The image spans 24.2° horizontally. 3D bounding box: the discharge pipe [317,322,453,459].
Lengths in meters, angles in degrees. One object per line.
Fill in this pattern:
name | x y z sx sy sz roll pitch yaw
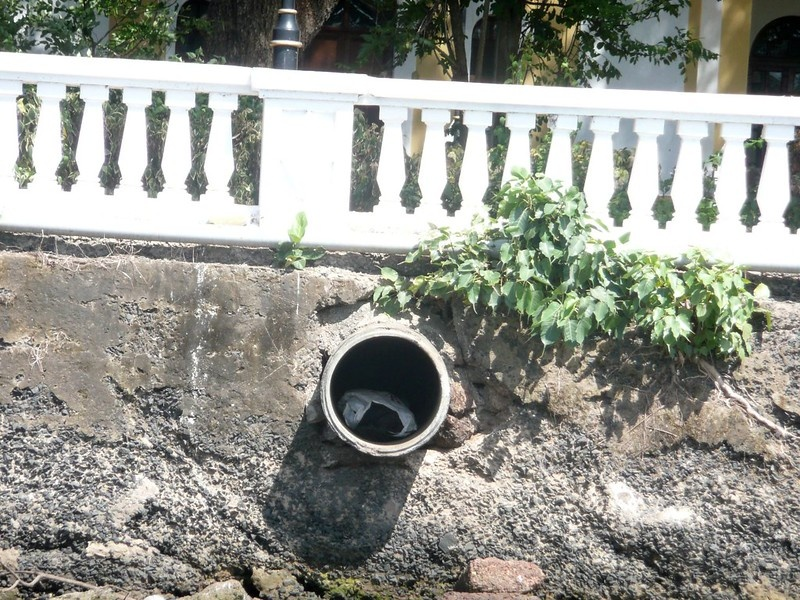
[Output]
discharge pipe | -0.087 0.859 17.338 1.089 1.234 1.471 12 7 -4
